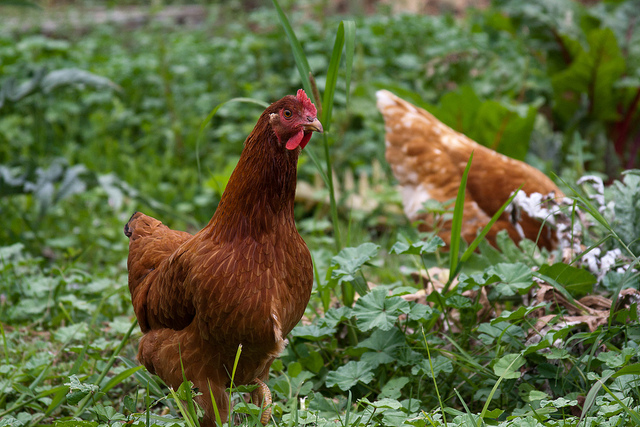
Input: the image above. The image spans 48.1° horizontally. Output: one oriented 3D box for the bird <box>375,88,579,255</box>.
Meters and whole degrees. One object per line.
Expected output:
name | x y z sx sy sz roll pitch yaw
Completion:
bird | 1.011 -0.331 5.073 1.256 1.279 1.613 -7 2 -20
